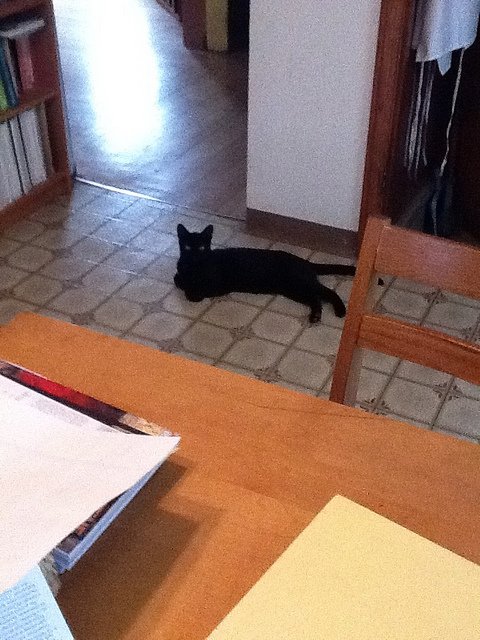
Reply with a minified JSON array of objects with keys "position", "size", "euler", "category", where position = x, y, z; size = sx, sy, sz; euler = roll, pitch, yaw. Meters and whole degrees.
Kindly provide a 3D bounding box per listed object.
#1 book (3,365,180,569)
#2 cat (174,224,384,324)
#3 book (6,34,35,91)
[{"position":[-0.169,0.187,0.613],"size":[0.194,0.045,0.198],"euler":[24,38,24],"category":"book"},{"position":[0.155,-0.185,2.207],"size":[0.892,0.216,0.371],"euler":[8,42,-1],"category":"cat"},{"position":[-1.158,-1.372,2.704],"size":[0.111,0.260,0.249],"euler":[-11,38,-16],"category":"book"}]
